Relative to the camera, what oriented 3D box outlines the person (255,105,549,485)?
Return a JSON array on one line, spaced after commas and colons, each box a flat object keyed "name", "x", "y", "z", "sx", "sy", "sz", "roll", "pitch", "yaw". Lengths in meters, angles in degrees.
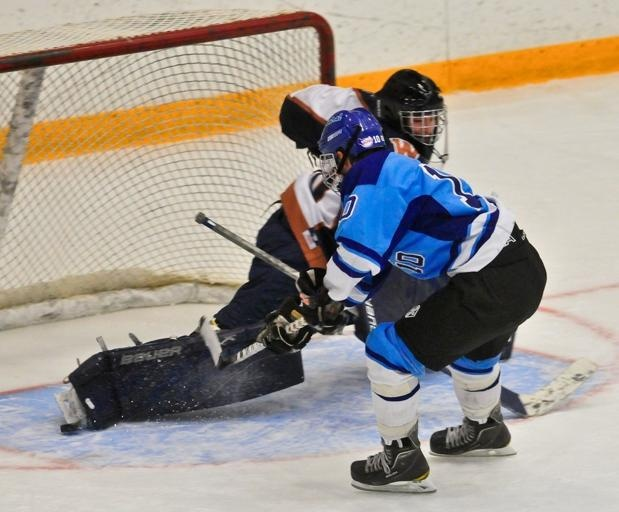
[{"name": "person", "x": 0.406, "y": 0.168, "z": 2.998, "sx": 0.895, "sy": 1.405, "sz": 0.865, "roll": 0, "pitch": 29, "yaw": 12}]
